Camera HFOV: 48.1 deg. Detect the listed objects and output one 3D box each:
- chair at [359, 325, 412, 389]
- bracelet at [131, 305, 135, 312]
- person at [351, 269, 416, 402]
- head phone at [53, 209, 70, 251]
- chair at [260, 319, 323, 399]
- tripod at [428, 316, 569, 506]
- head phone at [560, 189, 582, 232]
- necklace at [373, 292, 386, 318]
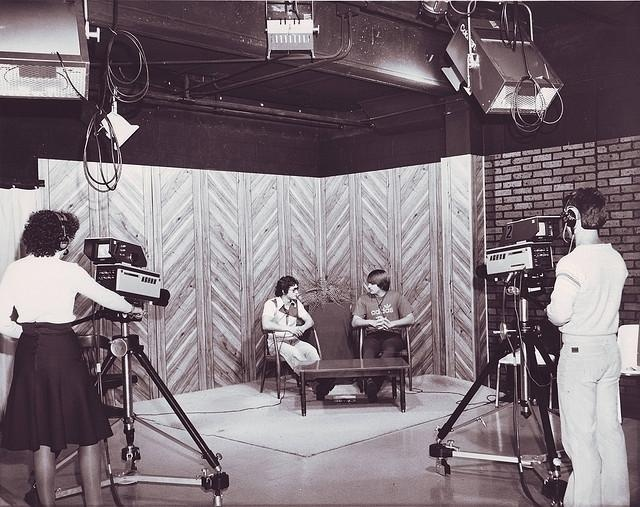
[{"bbox_3d":[0.690,1.027,7.222,0.417,0.903,0.570,-2,-18,9],"label":"chair"},{"bbox_3d":[-1.204,0.357,4.637,0.023,0.026,0.023,-2,-16,10],"label":"bracelet"},{"bbox_3d":[0.571,0.749,7.017,0.621,1.178,0.996,-3,3,16],"label":"person"},{"bbox_3d":[-1.570,-0.135,4.359,0.074,0.213,0.211,2,-3,-29],"label":"head phone"},{"bbox_3d":[-0.470,1.133,7.525,0.605,1.002,0.597,4,-6,-32],"label":"chair"},{"bbox_3d":[1.315,1.100,5.251,0.912,1.442,1.051,-1,-7,43],"label":"tripod"},{"bbox_3d":[1.526,-0.262,4.463,0.105,0.231,0.166,12,11,35],"label":"head phone"},{"bbox_3d":[0.597,0.521,7.231,0.107,0.202,0.058,8,-12,-1],"label":"necklace"}]
